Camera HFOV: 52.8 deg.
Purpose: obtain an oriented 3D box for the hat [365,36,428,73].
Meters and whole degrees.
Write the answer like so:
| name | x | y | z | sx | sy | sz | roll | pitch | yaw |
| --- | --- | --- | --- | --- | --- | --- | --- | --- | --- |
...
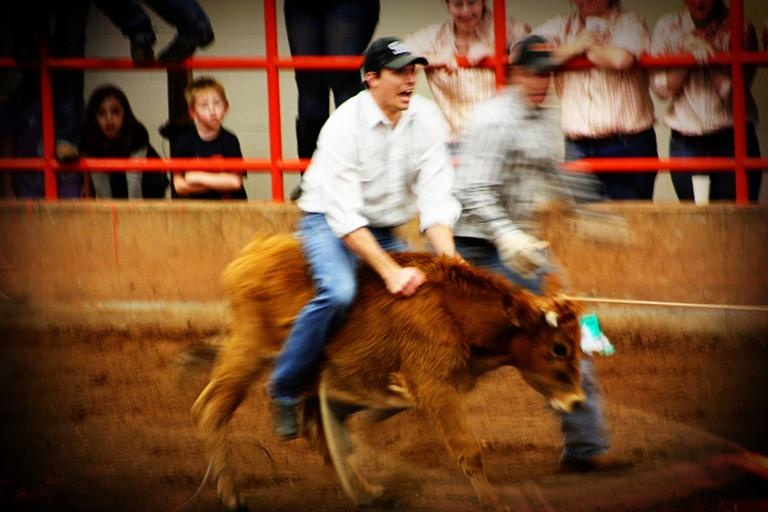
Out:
| name | x | y | z | sx | sy | sz | roll | pitch | yaw |
| --- | --- | --- | --- | --- | --- | --- | --- | --- | --- |
| hat | 0.067 | -1.207 | 4.715 | 0.320 | 0.161 | 0.217 | -10 | 3 | 23 |

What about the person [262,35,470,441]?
| name | x | y | z | sx | sy | sz | roll | pitch | yaw |
| --- | --- | --- | --- | --- | --- | --- | --- | --- | --- |
| person | -0.119 | -0.086 | 4.884 | 1.188 | 2.514 | 0.509 | 1 | 8 | 3 |
